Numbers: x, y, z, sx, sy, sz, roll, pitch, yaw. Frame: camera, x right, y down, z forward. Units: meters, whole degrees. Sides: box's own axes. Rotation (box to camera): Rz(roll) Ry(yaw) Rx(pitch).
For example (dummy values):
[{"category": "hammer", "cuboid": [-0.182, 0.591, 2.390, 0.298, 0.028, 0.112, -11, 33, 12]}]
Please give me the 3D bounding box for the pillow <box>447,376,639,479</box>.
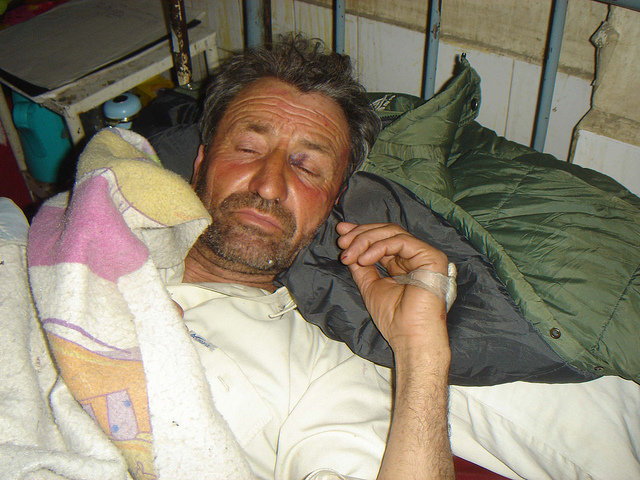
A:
[{"category": "pillow", "cuboid": [0.690, 0.590, 1.753, 0.497, 0.394, 0.136, 4, -11, 4]}]
